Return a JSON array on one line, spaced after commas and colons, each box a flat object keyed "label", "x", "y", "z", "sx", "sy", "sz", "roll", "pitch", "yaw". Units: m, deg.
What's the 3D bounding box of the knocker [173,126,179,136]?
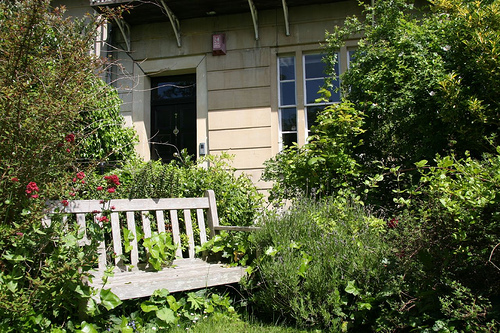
[{"label": "knocker", "x": -1.409, "y": -0.671, "z": 8.539, "sx": 0.106, "sy": 0.161, "sz": 0.021, "roll": -3, "pitch": -4, "yaw": 18}]
